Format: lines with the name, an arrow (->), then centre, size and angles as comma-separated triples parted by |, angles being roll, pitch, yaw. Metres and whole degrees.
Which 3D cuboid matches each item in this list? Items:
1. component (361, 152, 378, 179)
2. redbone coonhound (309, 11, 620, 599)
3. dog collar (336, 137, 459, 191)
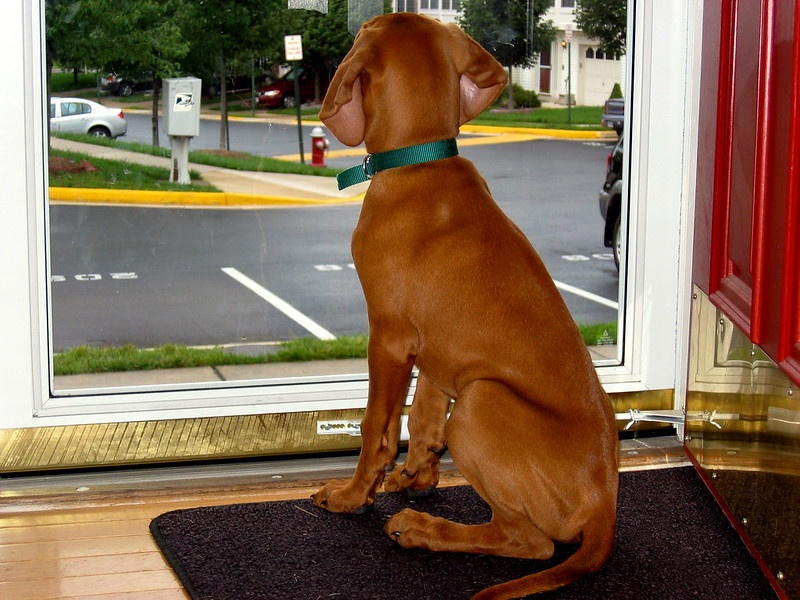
component -> -0.101, -0.448, 3.450 | 0.026, 0.072, 0.053 | -4, 43, 4
redbone coonhound -> 0.215, -0.026, 3.329 | 1.002, 1.759, 0.464 | 9, 14, 36
dog collar -> -0.020, -0.457, 3.452 | 0.287, 0.092, 0.190 | -15, 7, 38
